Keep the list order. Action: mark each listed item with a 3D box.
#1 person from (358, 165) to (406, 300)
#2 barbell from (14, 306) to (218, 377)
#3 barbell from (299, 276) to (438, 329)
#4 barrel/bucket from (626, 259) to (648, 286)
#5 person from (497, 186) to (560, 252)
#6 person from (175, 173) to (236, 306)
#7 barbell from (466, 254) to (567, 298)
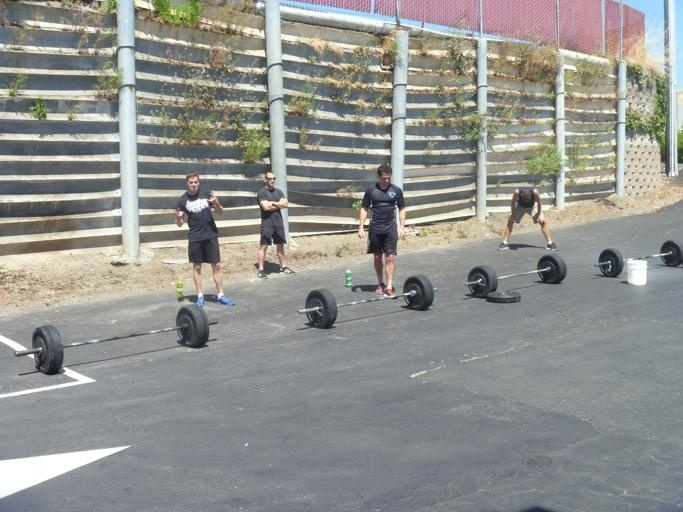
[{"bbox_3d":[0.828,-0.361,12.661,0.763,2.192,0.924,0,1,-20],"label":"person"},{"bbox_3d":[-2.945,1.059,9.580,2.321,0.625,0.722,-8,14,-31],"label":"barbell"},{"bbox_3d":[0.307,0.667,11.367,2.175,0.582,0.882,-7,14,-27],"label":"barbell"},{"bbox_3d":[5.241,0.307,13.116,0.418,0.448,0.434,-2,3,0],"label":"barrel/bucket"},{"bbox_3d":[4.153,-0.901,16.628,1.292,1.669,1.008,-1,28,15],"label":"person"},{"bbox_3d":[-2.292,-0.252,12.100,0.792,2.189,0.719,7,14,34],"label":"person"},{"bbox_3d":[2.975,0.335,12.798,2.105,0.553,0.763,-10,15,-35],"label":"barbell"}]
